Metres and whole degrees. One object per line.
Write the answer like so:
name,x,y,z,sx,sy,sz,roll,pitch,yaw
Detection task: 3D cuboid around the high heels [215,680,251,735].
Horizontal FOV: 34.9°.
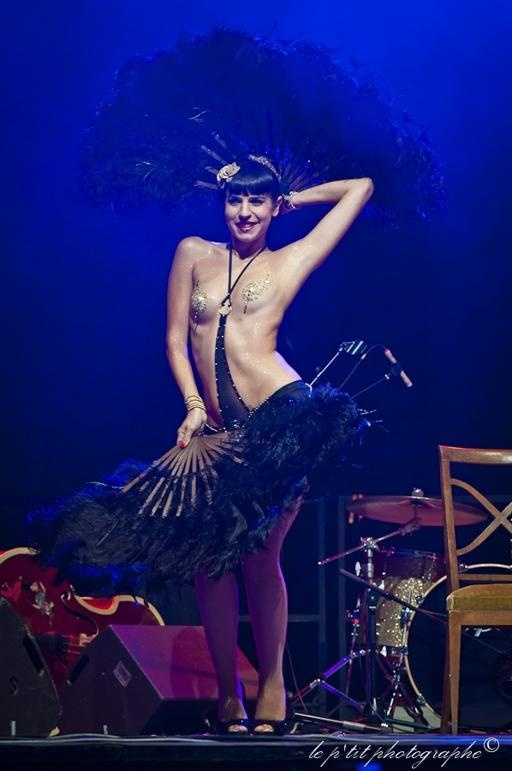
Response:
high heels,-0.064,0.892,2.228,0.096,0.119,0.185,-2,5,-3

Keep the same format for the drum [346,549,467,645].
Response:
drum,0.614,0.869,3.333,0.395,0.361,0.362,-1,-37,16

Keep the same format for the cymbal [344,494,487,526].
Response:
cymbal,0.614,0.508,3.290,0.302,0.078,0.285,-4,-31,26

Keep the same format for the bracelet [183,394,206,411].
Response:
bracelet,-0.181,0.052,2.478,0.048,0.052,0.040,-8,40,-19

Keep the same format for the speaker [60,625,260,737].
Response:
speaker,-0.293,0.875,2.385,0.390,0.200,0.387,17,-31,-41

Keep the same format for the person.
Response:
person,0.075,0.138,2.441,0.658,1.701,0.694,-2,6,-6
